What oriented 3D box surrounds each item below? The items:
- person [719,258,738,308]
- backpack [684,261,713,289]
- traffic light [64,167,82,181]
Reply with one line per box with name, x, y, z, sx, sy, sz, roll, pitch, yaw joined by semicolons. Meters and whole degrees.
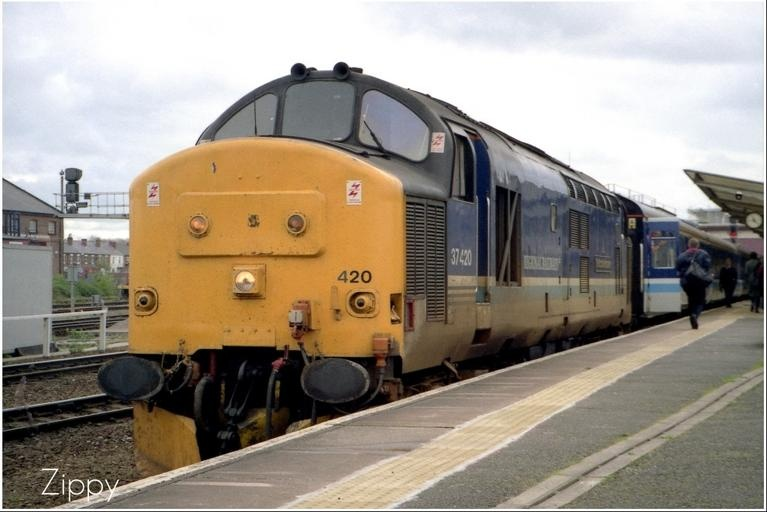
person;12.289;0.828;24.236;0.692;2.010;0.458;-7;23;24
backpack;6.947;0.376;15.128;0.460;0.489;0.236;15;27;31
traffic light;-19.736;-5.172;43.177;0.859;0.772;0.476;-1;2;-31
